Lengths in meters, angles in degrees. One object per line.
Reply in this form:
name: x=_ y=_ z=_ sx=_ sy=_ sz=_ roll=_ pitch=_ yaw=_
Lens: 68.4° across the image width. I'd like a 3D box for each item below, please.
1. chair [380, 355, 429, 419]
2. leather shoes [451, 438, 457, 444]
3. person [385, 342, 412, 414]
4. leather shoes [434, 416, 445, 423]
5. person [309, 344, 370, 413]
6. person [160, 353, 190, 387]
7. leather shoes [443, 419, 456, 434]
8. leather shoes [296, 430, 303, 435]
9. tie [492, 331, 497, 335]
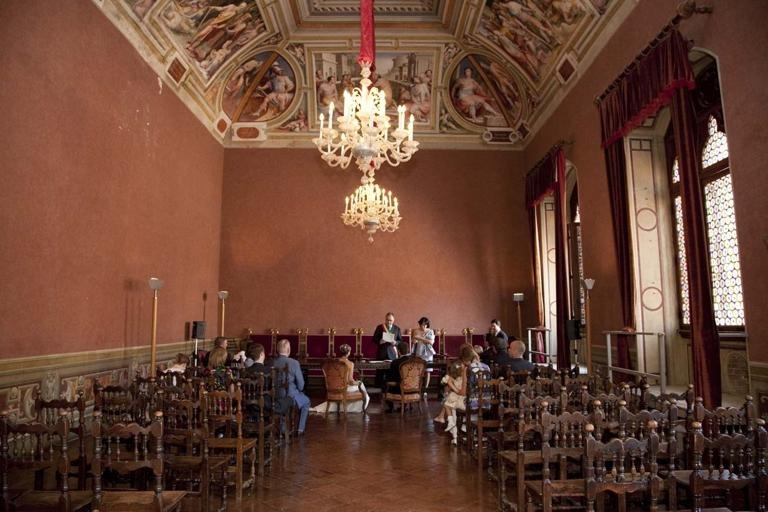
chair: x=0.346 y=2.791 z=12.146 sx=1.102 sy=1.871 sz=1.070 roll=2 pitch=-5 yaw=-14
leather shoes: x=1.190 y=3.203 z=9.773 sx=0.073 sy=0.093 sz=0.216 roll=2 pitch=-10 yaw=-12
person: x=0.422 y=2.671 z=12.273 sx=0.538 sy=1.780 sz=0.581 roll=-12 pitch=21 yaw=-22
leather shoes: x=1.072 y=3.197 z=10.978 sx=0.105 sy=0.129 sz=0.296 roll=7 pitch=-5 yaw=-32
person: x=-0.886 y=2.790 z=12.012 sx=0.776 sy=1.263 sz=0.895 roll=-4 pitch=-5 yaw=38
person: x=-3.888 y=2.115 z=10.466 sx=0.520 sy=0.517 sz=0.833 roll=2 pitch=-18 yaw=-17
leather shoes: x=1.213 y=3.148 z=10.388 sx=0.128 sy=0.237 sz=0.316 roll=15 pitch=-38 yaw=-23
leather shoes: x=-1.557 y=3.276 z=10.460 sx=0.105 sy=0.088 sz=0.060 roll=1 pitch=-3 yaw=-2
tie: x=2.611 y=1.839 z=13.420 sx=0.102 sy=0.053 sz=0.152 roll=-1 pitch=-7 yaw=8
